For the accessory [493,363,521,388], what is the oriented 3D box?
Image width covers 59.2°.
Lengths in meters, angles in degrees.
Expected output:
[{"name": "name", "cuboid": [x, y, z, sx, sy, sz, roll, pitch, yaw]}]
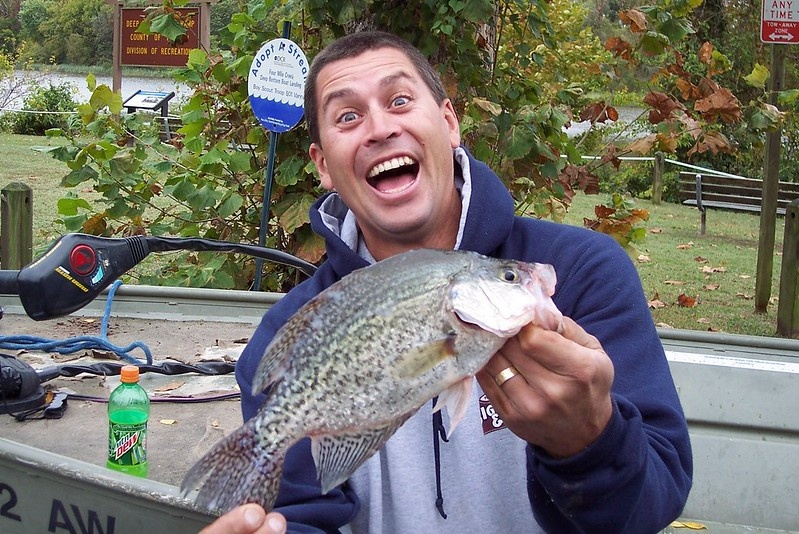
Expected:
[{"name": "accessory", "cuboid": [0.354, 0.354, 2.329, 0.059, 0.069, 0.067, -22, 26, -6]}]

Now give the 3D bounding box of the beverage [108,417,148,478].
[{"name": "beverage", "cuboid": [-1.142, 0.740, 2.952, 0.156, 0.251, 0.173, 0, 3, -22]}]

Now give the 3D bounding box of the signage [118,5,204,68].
[{"name": "signage", "cuboid": [-4.133, -3.829, 11.576, 1.520, 1.162, 0.638, 4, 4, 33]}]
